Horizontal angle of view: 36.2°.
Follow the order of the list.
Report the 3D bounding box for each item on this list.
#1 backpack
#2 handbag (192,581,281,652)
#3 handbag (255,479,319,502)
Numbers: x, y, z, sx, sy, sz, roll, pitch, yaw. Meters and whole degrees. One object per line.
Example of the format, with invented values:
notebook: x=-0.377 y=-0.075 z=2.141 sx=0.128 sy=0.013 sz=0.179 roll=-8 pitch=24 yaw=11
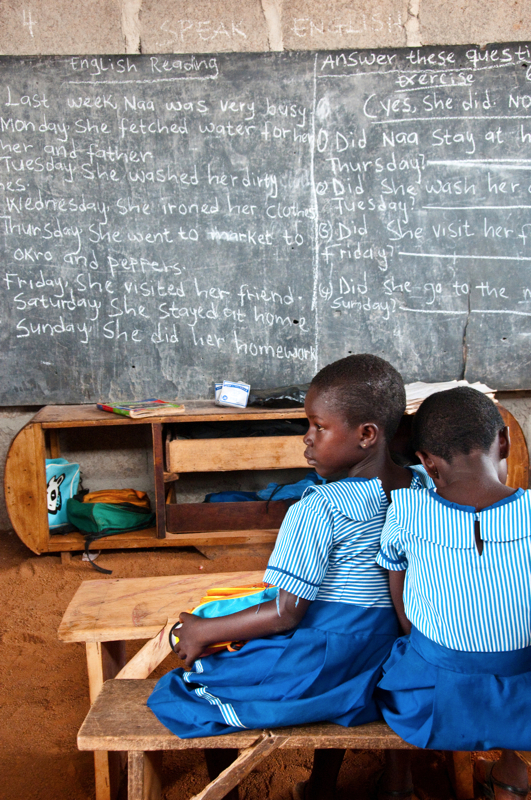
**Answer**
backpack: x=-0.625 y=0.455 z=3.305 sx=0.212 sy=0.095 sz=0.219 roll=-2 pitch=4 yaw=-37
handbag: x=-0.051 y=0.369 z=1.440 sx=0.132 sy=0.048 sz=0.101 roll=-15 pitch=1 yaw=-15
handbag: x=0.084 y=0.366 z=3.282 sx=0.252 sy=0.078 sz=0.198 roll=-2 pitch=-2 yaw=-3
